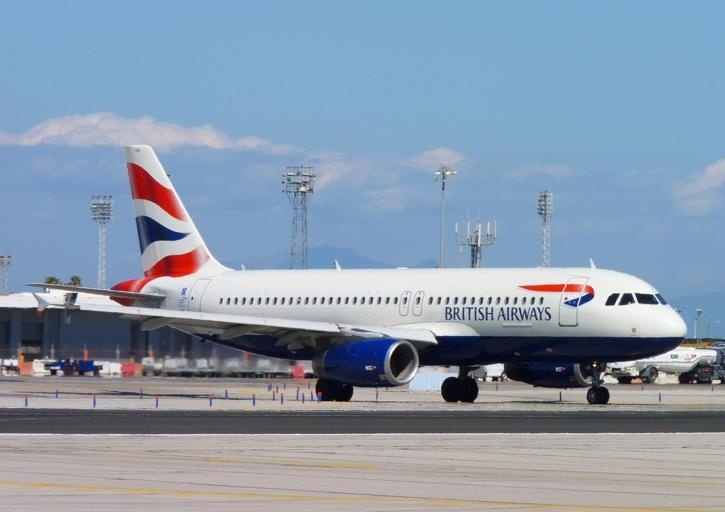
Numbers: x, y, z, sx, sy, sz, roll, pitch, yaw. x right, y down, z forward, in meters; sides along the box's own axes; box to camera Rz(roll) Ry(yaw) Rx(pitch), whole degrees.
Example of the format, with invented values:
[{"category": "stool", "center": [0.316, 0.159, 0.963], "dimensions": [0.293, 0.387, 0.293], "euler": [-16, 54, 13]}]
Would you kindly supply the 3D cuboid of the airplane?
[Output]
[{"category": "airplane", "center": [-0.071, 0.202, 51.688], "dimensions": [20.629, 9.344, 8.396], "euler": [-2, -6, 12]}]
